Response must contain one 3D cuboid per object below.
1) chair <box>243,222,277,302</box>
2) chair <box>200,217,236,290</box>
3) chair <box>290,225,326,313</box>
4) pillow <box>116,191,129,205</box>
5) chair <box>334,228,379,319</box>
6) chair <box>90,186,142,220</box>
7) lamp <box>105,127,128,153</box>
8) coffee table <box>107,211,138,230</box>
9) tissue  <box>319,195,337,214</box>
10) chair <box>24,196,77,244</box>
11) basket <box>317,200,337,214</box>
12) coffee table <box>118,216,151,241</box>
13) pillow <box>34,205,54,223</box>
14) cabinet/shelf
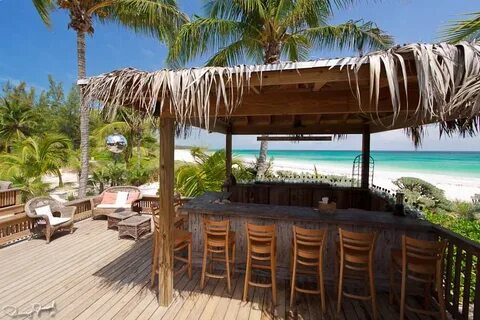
[{"bbox_3d":[0.489,2.377,7.838,0.799,1.900,0.923,1,3,5],"label":"chair"},{"bbox_3d":[-0.545,2.266,8.050,0.866,1.799,0.951,1,3,-3],"label":"chair"},{"bbox_3d":[1.624,2.454,7.667,0.837,1.941,0.952,2,3,11],"label":"chair"},{"bbox_3d":[-4.333,1.415,11.837,0.351,0.583,0.152,4,-34,-10],"label":"pillow"},{"bbox_3d":[2.741,2.520,7.546,0.940,2.013,1.042,2,4,20],"label":"chair"},{"bbox_3d":[-4.626,1.495,12.017,1.748,1.292,1.111,-1,-9,-2],"label":"chair"},{"bbox_3d":[-3.819,-0.523,9.918,0.498,0.555,0.379,2,3,17],"label":"lamp"},{"bbox_3d":[-4.007,1.916,10.732,0.639,0.405,0.671,2,4,14],"label":"coffee table"},{"bbox_3d":[2.276,1.146,8.306,0.525,0.422,0.385,5,-10,-2],"label":"tissue "},{"bbox_3d":[-5.983,1.763,10.229,1.367,1.291,1.322,5,5,19],"label":"chair"},{"bbox_3d":[2.204,1.207,8.173,0.333,0.199,0.263,2,-6,12],"label":"basket"},{"bbox_3d":[-3.332,2.104,10.121,0.640,0.491,0.963,0,1,2],"label":"coffee table"},{"bbox_3d":[-6.123,1.652,10.065,0.472,0.414,0.461,-1,4,-32],"label":"pillow"},{"bbox_3d":[1.988,1.184,11.122,4.676,0.753,0.343,2,3,11],"label":"cabinet/shelf"}]
